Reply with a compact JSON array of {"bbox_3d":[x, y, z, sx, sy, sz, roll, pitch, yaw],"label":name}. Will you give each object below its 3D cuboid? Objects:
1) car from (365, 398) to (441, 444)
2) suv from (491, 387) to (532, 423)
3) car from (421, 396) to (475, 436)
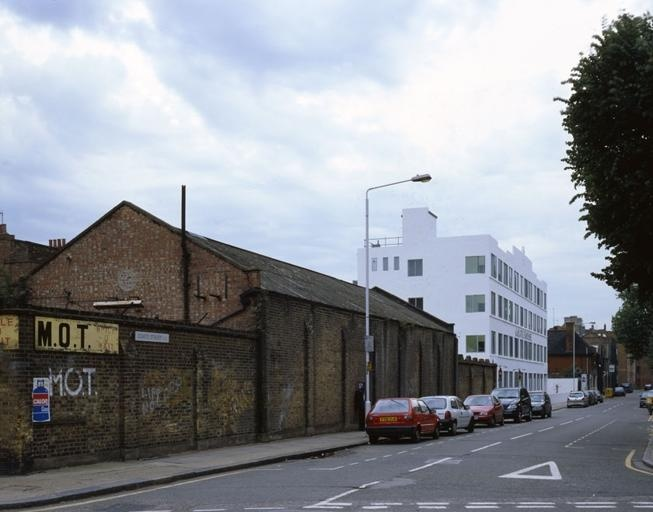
[{"bbox_3d":[2.848,6.144,36.003,1.583,1.544,4.082,-3,-7,25],"label":"car"},{"bbox_3d":[10.571,8.492,55.361,1.878,2.052,4.160,-5,-7,26],"label":"suv"},{"bbox_3d":[5.332,6.839,41.786,1.294,1.139,2.962,-4,-5,26],"label":"car"}]
